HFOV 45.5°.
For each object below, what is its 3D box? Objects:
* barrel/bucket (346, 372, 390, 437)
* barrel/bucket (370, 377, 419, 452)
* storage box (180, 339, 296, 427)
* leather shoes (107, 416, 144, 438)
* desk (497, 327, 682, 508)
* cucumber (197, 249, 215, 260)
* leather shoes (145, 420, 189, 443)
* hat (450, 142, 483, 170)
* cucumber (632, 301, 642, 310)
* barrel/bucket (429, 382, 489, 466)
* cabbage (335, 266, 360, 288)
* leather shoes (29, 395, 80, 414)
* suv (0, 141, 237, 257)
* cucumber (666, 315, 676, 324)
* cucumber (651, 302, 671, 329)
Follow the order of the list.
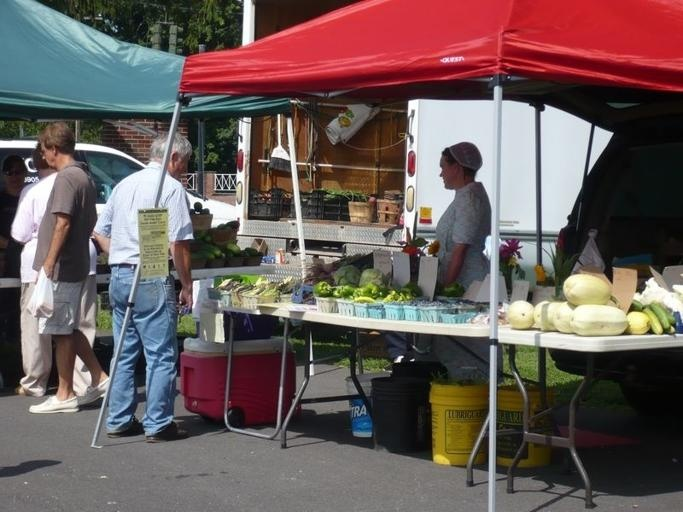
[{"bbox_3d":[0.215,1.250,7.013,0.399,0.542,0.452,0,1,-4],"label":"barrel/bucket"},{"bbox_3d":[0.438,1.262,6.591,0.448,0.569,0.462,1,-1,0],"label":"barrel/bucket"},{"bbox_3d":[-0.914,1.106,7.207,0.883,0.835,0.645,0,1,-29],"label":"storage box"},{"bbox_3d":[-1.815,1.442,6.845,0.123,0.166,0.340,11,14,42],"label":"leather shoes"},{"bbox_3d":[1.563,0.890,5.463,1.332,1.288,1.069,-1,4,-43],"label":"desk"},{"bbox_3d":[-1.477,-0.004,8.877,0.160,0.087,0.078,10,4,35],"label":"cucumber"},{"bbox_3d":[-1.436,1.435,6.733,0.349,0.176,0.130,-7,12,-40],"label":"leather shoes"},{"bbox_3d":[1.031,-0.847,6.840,0.182,0.272,0.132,-19,-16,-40],"label":"hat"},{"bbox_3d":[1.937,0.339,5.373,0.040,0.054,0.062,1,7,-22],"label":"cucumber"},{"bbox_3d":[0.864,1.249,6.321,0.478,0.626,0.519,0,1,0],"label":"barrel/bucket"},{"bbox_3d":[0.050,0.165,6.415,0.148,0.086,0.156,-30,48,-16],"label":"cabbage"},{"bbox_3d":[-2.621,1.389,7.487,0.436,0.196,0.176,3,-4,-13],"label":"leather shoes"},{"bbox_3d":[-3.200,-0.753,11.509,2.943,1.389,1.683,-2,2,-30],"label":"suv"},{"bbox_3d":[2.124,0.419,5.261,0.036,0.046,0.075,8,8,35],"label":"cucumber"},{"bbox_3d":[2.059,0.404,5.289,0.065,0.164,0.154,-1,8,-35],"label":"cucumber"}]
